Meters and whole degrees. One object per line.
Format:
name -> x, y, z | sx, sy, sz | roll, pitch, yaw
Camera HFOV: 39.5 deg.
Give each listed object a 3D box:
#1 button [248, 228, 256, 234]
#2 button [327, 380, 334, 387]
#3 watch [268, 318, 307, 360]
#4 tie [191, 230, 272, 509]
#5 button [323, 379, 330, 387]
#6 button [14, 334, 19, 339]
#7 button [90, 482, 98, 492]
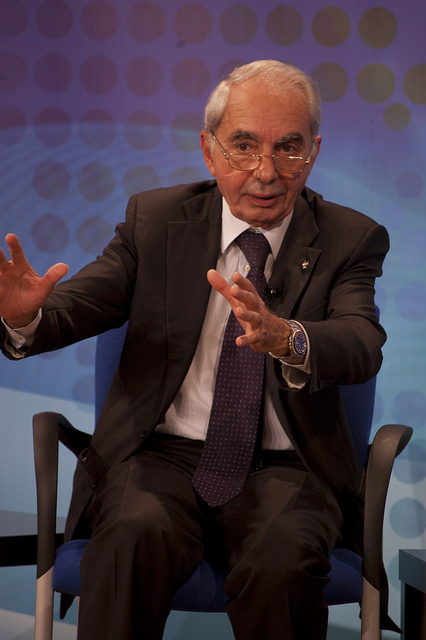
button -> 0.093, -0.202, 1.355 | 0.013, 0.008, 0.011 | 5, -19, -6
button -> 0.214, 0.115, 1.078 | 0.011, 0.011, 0.003 | 4, -31, 46
watch -> 0.139, 0.036, 1.028 | 0.052, 0.060, 0.079 | 9, 21, 11
tie -> 0.058, 0.118, 1.269 | 0.134, 0.525, 0.109 | 8, -23, 4
button -> 0.205, 0.114, 1.069 | 0.008, 0.020, 0.014 | 13, 22, 19
button -> -0.357, 0.029, 1.081 | 0.010, 0.008, 0.003 | 1, 3, -9
button -> -0.247, 0.349, 1.240 | 0.003, 0.015, 0.016 | 31, -32, -27
